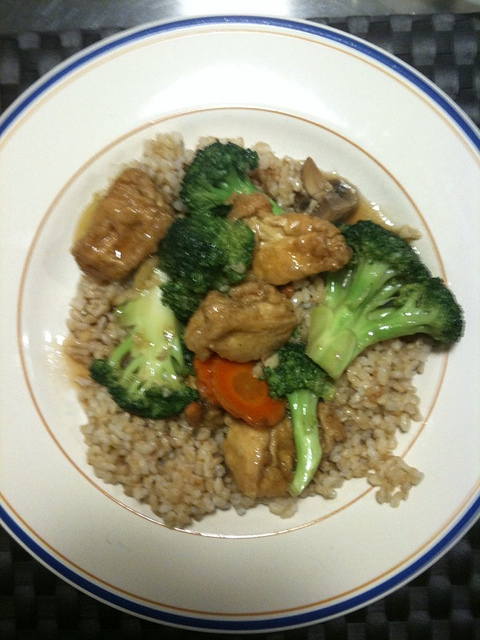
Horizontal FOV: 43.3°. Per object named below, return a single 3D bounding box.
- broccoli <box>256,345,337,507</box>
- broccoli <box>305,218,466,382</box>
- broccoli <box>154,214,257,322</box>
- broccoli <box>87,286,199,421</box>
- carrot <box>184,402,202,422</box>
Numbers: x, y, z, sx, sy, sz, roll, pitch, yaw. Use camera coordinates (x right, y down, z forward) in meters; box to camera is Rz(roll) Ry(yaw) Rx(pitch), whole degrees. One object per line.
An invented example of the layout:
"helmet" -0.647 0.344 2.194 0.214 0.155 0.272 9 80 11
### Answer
"broccoli" 0.218 0.374 2.245 0.351 0.165 0.558 1 90 -7
"broccoli" 0.460 -0.102 2.251 0.573 0.156 0.533 -21 86 -2
"broccoli" -0.144 -0.194 2.177 0.354 0.121 0.367 5 85 0
"broccoli" -0.340 0.119 2.287 0.455 0.131 0.481 1 90 7
"carrot" -0.179 0.347 2.314 0.069 0.050 0.066 11 74 -20
